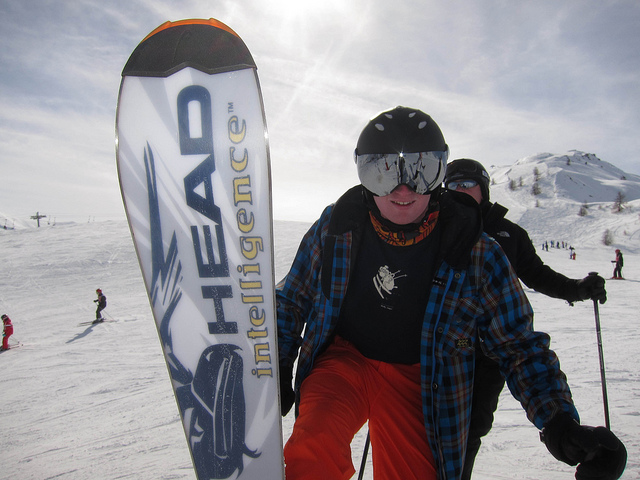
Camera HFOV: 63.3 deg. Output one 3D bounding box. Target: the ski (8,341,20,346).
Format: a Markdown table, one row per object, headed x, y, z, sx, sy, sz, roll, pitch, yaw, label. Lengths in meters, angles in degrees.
| x | y | z | sx | sy | sz | roll | pitch | yaw | label |
| --- | --- | --- | --- | --- | --- | --- | --- | --- | --- |
| -7.898 | 2.651 | 13.390 | 0.210 | 0.051 | 0.242 | -10 | 10 | -22 | ski |

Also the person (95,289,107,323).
| x | y | z | sx | sy | sz | roll | pitch | yaw | label |
| --- | --- | --- | --- | --- | --- | --- | --- | --- | --- |
| -6.692 | 2.045 | 15.829 | 0.339 | 0.934 | 0.359 | 14 | -35 | -20 | person |

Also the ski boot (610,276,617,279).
| x | y | z | sx | sy | sz | roll | pitch | yaw | label |
| --- | --- | --- | --- | --- | --- | --- | --- | --- | --- |
| 10.611 | 1.384 | 18.900 | 0.190 | 0.058 | 0.340 | 1 | 12 | 37 | ski boot |

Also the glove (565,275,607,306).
| x | y | z | sx | sy | sz | roll | pitch | yaw | label |
| --- | --- | --- | --- | --- | --- | --- | --- | --- | --- |
| 3.204 | 0.639 | 6.200 | 0.347 | 0.189 | 0.466 | 18 | 11 | 13 | glove |

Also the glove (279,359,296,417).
| x | y | z | sx | sy | sz | roll | pitch | yaw | label |
| --- | --- | --- | --- | --- | --- | --- | --- | --- | --- |
| -0.315 | 1.354 | 4.832 | 0.127 | 0.459 | 0.224 | 6 | -8 | -40 | glove |

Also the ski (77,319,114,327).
| x | y | z | sx | sy | sz | roll | pitch | yaw | label |
| --- | --- | --- | --- | --- | --- | --- | --- | --- | --- |
| -6.663 | 2.427 | 15.071 | 0.113 | 0.065 | 0.965 | 19 | 11 | 33 | ski |

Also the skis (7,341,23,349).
| x | y | z | sx | sy | sz | roll | pitch | yaw | label |
| --- | --- | --- | --- | --- | --- | --- | --- | --- | --- |
| -7.794 | 2.681 | 13.321 | 0.333 | 0.111 | 0.062 | -9 | -24 | 21 | skis |

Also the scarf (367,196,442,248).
| x | y | z | sx | sy | sz | roll | pitch | yaw | label |
| --- | --- | --- | --- | --- | --- | --- | --- | --- | --- |
| 0.819 | -0.237 | 5.022 | 0.629 | 0.337 | 0.547 | -14 | -12 | -13 | scarf |
